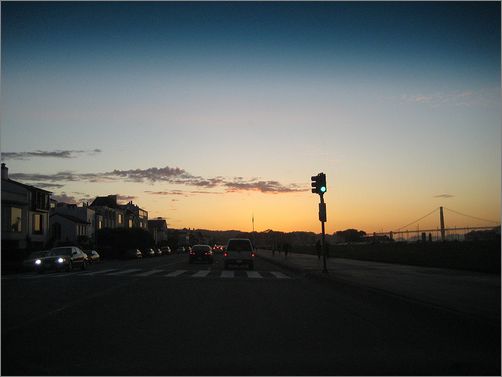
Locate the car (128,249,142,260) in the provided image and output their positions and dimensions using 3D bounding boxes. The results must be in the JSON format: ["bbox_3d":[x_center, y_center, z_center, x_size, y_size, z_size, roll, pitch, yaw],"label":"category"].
[{"bbox_3d":[-17.064,9.616,66.379,1.159,1.226,4.299,-1,-6,-2],"label":"car"}]

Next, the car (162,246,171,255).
[{"bbox_3d":[-18.380,13.389,97.267,1.357,1.250,2.376,0,3,-5],"label":"car"}]

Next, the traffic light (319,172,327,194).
[{"bbox_3d":[3.941,-0.303,24.931,0.266,1.048,0.579,0,-5,-8],"label":"traffic light"}]

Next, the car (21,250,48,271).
[{"bbox_3d":[-14.846,4.890,30.932,1.141,1.101,2.117,0,-8,-7],"label":"car"}]

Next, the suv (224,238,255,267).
[{"bbox_3d":[-0.797,4.770,31.828,2.200,2.283,4.234,0,-2,0],"label":"suv"}]

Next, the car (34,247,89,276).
[{"bbox_3d":[-12.549,4.666,29.830,1.557,1.582,3.472,-3,-6,11],"label":"car"}]
